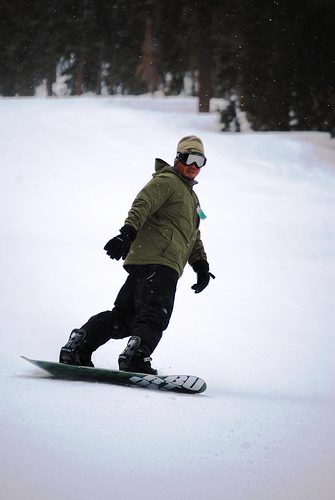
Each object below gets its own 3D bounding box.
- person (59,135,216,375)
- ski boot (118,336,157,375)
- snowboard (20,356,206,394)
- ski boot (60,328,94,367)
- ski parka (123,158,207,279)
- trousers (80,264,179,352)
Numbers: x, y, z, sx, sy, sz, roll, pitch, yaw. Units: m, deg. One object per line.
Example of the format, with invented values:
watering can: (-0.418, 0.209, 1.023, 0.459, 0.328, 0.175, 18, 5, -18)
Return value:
person: (-0.133, 0.013, 2.584, 0.656, 1.258, 0.474, 4, -17, 18)
ski boot: (-0.150, 0.515, 2.344, 0.087, 0.172, 0.255, 10, -22, 20)
snowboard: (-0.234, 0.563, 2.252, 0.790, 0.142, 0.115, 8, 0, 1)
ski boot: (-0.416, 0.458, 2.412, 0.190, 0.184, 0.128, 12, -10, -34)
ski parka: (-0.036, -0.104, 2.573, 0.381, 0.618, 0.417, -18, 30, -33)
trousers: (-0.173, 0.271, 2.454, 0.374, 0.426, 0.359, 10, 0, 11)
